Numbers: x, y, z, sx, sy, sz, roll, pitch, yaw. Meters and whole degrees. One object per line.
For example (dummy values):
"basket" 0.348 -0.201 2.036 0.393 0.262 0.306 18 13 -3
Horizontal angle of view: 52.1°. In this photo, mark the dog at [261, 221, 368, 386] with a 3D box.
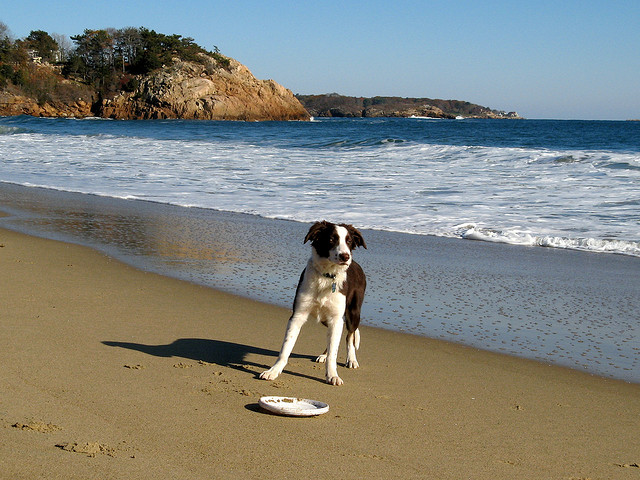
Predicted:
"dog" 0.038 0.508 5.801 0.675 1.334 1.073 10 15 22

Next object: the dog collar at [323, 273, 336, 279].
"dog collar" 0.085 0.307 5.613 0.098 0.049 0.010 2 15 -7

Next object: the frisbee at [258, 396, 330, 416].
"frisbee" -0.204 1.274 5.043 0.528 0.089 0.329 4 11 5
